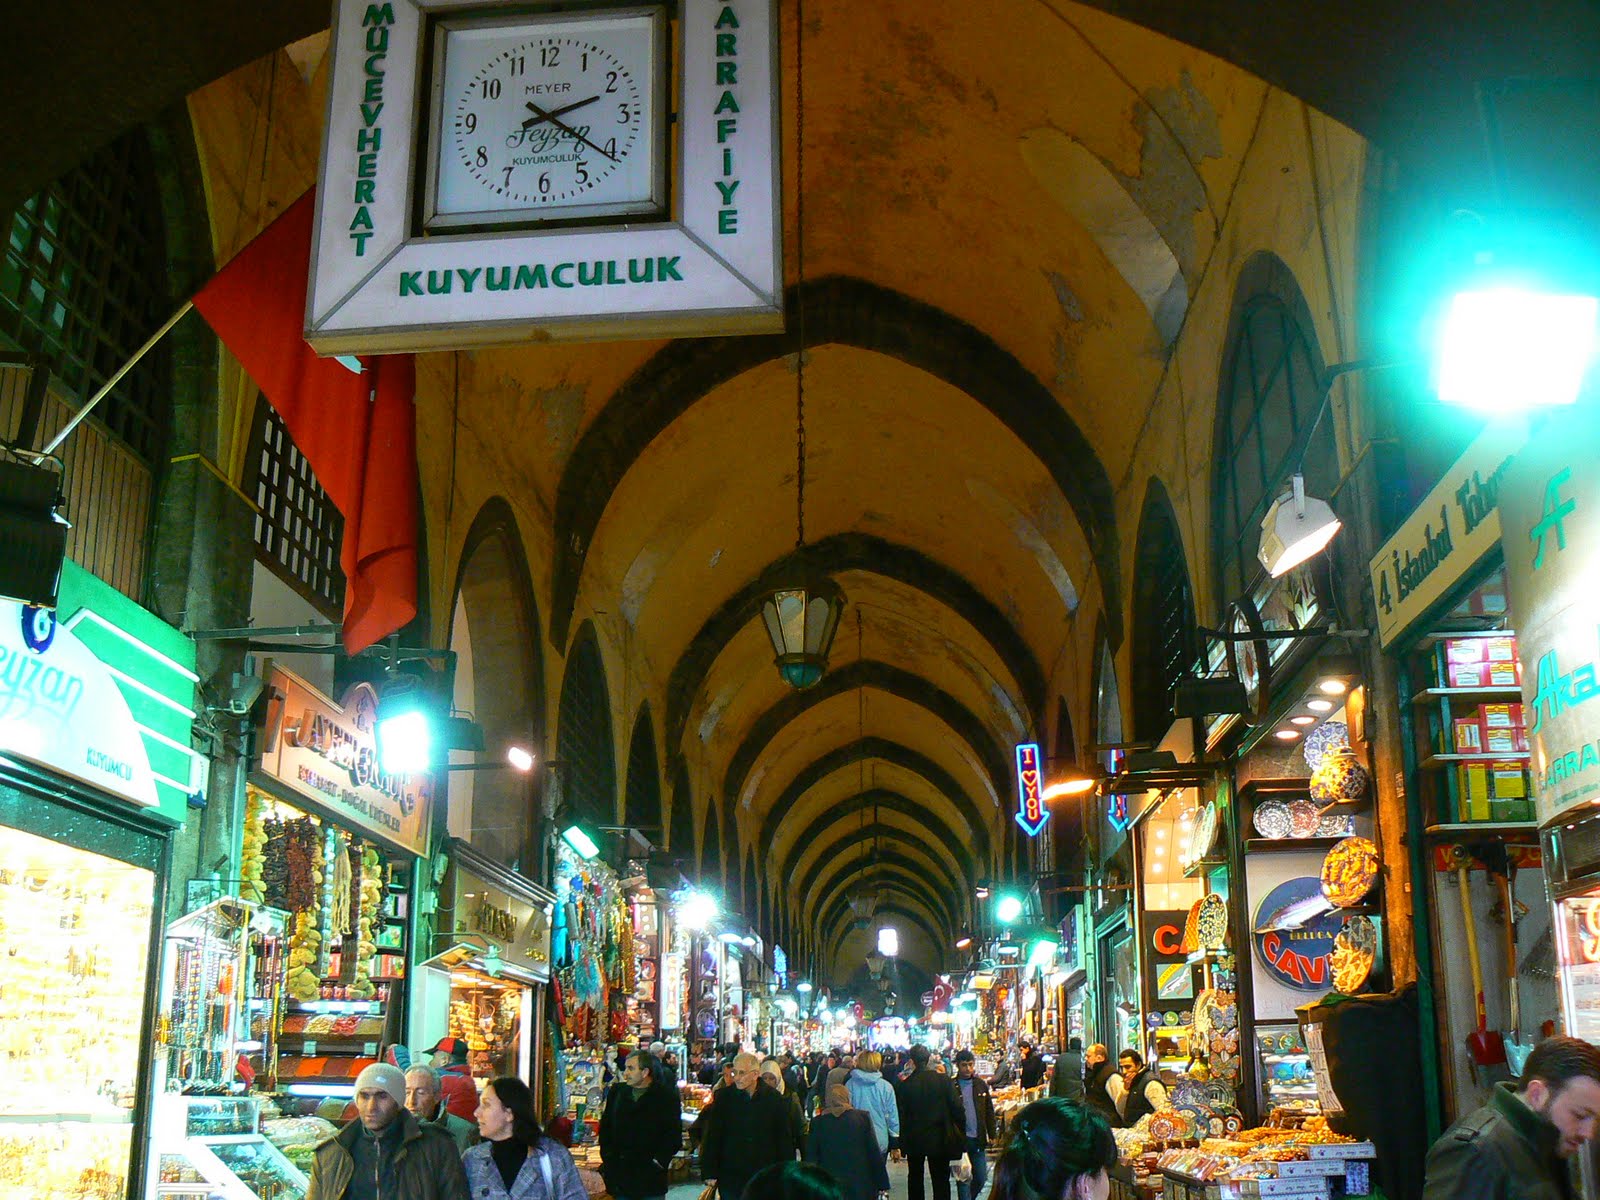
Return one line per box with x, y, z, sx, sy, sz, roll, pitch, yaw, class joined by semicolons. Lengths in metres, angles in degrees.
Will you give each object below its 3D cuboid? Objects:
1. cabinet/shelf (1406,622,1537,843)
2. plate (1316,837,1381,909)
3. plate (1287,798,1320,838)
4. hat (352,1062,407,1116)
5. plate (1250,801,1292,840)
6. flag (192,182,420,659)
3.799;0.783;8.235;0.755;1.486;0.949;-1;-8;11;cabinet/shelf
3.426;1.702;9.037;0.099;0.357;0.381;17;-57;-19;plate
3.929;1.686;11.294;0.129;0.258;0.214;2;7;12;plate
-1.809;2.098;6.289;0.156;0.157;0.189;-2;-27;0;hat
3.725;1.706;11.445;0.284;0.298;0.298;-8;-24;12;plate
-2.670;-0.998;8.156;0.689;2.162;1.408;-10;-23;20;flag
